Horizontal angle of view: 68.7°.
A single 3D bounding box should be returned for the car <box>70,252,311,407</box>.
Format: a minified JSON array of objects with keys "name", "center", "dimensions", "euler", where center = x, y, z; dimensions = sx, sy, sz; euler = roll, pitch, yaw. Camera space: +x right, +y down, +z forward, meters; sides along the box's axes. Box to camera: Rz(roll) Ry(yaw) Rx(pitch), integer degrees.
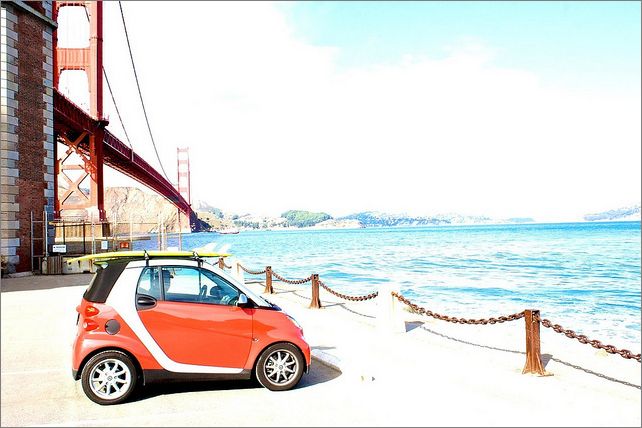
[{"name":"car","center":[-2.024,1.754,8.100],"dimensions":[3.813,1.852,2.058],"euler":[0,-4,-15]}]
